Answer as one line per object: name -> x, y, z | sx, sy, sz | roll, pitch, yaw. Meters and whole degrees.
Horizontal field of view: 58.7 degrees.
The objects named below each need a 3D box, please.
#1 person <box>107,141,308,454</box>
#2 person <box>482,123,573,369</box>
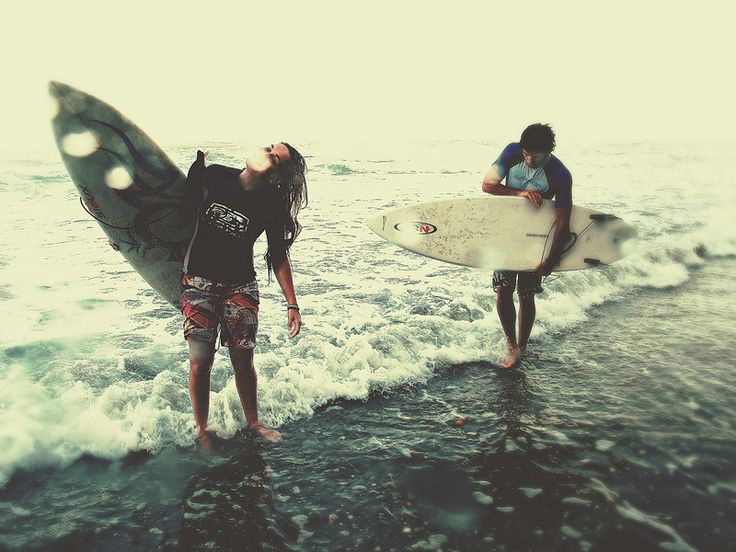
person -> -0.927, 0.145, 5.008 | 0.970, 2.252, 0.523 | -5, 16, -15
person -> 1.417, -0.249, 5.931 | 0.764, 2.199, 0.405 | 1, 16, 8
